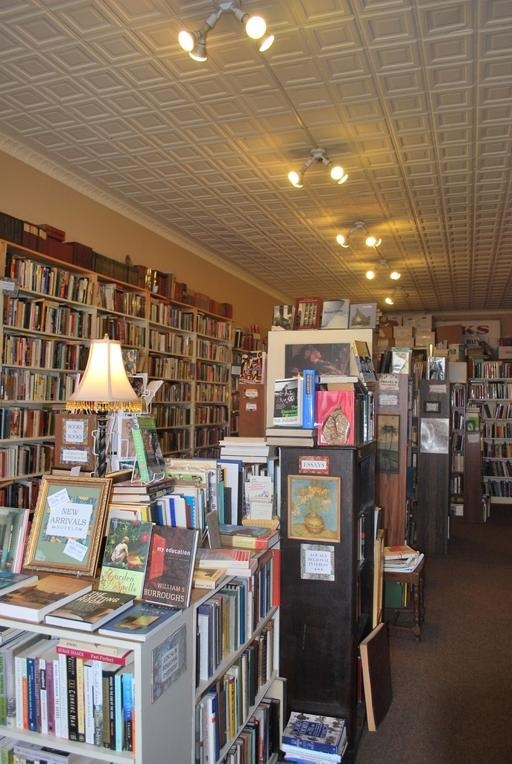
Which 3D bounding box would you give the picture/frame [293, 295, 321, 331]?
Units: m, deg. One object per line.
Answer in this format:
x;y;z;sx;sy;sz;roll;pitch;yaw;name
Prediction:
0.330;-0.431;3.332;0.214;0.299;0.038;-5;-22;32;picture/frame

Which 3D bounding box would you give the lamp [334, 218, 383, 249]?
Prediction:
1.305;-1.899;6.701;0.367;0.150;0.330;5;-1;-39;lamp

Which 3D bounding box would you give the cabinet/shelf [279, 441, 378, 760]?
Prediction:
0.420;1.030;2.532;0.347;1.459;0.647;-2;-2;34;cabinet/shelf

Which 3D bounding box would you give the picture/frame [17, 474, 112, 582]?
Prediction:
-0.611;0.489;1.690;0.294;0.356;0.042;-1;-28;9;picture/frame

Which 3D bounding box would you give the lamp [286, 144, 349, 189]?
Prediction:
0.549;-1.903;4.568;0.307;0.200;0.373;6;6;29;lamp
